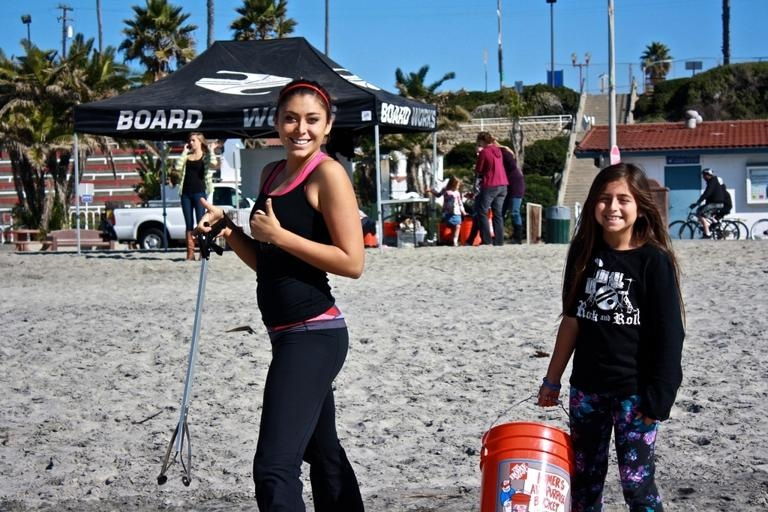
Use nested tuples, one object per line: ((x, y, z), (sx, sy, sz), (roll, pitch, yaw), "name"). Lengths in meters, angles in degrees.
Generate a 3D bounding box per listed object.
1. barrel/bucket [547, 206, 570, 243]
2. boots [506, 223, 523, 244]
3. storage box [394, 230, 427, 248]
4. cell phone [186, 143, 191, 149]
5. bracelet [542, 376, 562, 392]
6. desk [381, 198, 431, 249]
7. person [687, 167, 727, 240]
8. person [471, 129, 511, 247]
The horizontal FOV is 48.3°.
((3.563, -0.563, 17.713), (0.554, 0.934, 0.580), (0, 1, 0), "barrel/bucket")
((2.759, -0.474, 17.840), (0.414, 0.536, 0.316), (2, 1, 4), "boots")
((0.604, -0.433, 19.170), (0.637, 0.290, 1.505), (-1, 6, 1), "storage box")
((-3.130, -1.764, 13.736), (0.097, 0.063, 0.096), (3, -1, -14), "cell phone")
((1.186, 0.898, 6.093), (0.104, 0.043, 0.099), (22, -3, 16), "bracelet")
((0.475, -0.859, 20.284), (1.221, 1.269, 0.990), (4, 8, 25), "desk")
((7.751, -1.288, 20.444), (0.774, 1.564, 1.978), (1, 6, 20), "person")
((2.044, -1.276, 16.372), (0.606, 2.158, 1.092), (0, 6, 8), "person")
